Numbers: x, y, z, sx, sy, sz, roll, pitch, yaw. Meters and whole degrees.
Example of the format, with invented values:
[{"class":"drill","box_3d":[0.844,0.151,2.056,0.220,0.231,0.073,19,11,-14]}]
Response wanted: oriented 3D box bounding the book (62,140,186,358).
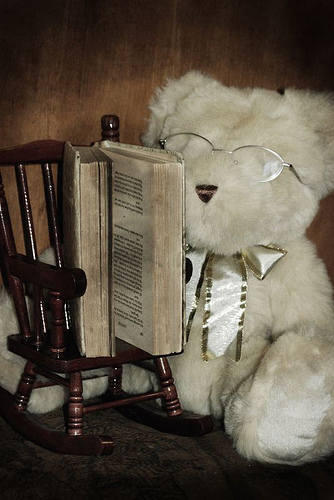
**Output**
[{"class":"book","box_3d":[-0.074,-0.023,0.904,0.184,0.304,0.336,-4,36,-10]}]
